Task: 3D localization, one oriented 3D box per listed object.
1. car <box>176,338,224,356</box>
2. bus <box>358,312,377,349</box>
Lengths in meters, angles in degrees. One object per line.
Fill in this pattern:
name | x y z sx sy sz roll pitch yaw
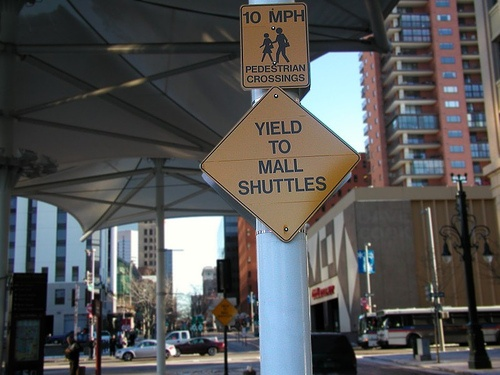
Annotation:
car | -4.227 13.537 49.835 3.813 1.564 1.781 6 -5 -5
bus | 10.042 12.247 50.099 1.143 3.288 3.358 4 -5 -1
